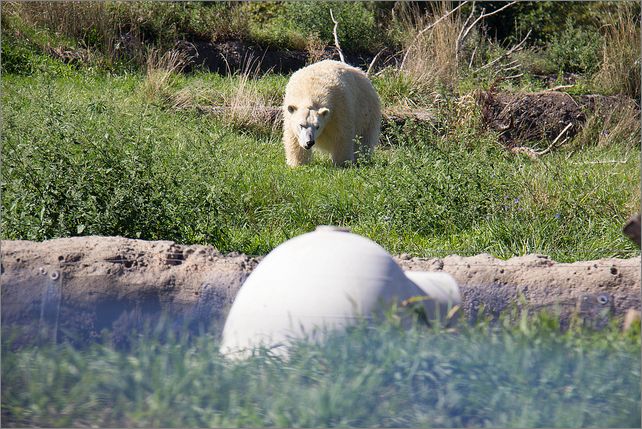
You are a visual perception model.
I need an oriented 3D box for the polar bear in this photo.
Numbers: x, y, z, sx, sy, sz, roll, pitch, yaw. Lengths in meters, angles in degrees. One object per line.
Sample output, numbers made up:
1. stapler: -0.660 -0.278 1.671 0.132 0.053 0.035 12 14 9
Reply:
1. polar bear: 0.194 -1.842 24.369 1.208 2.036 2.530 3 10 26
